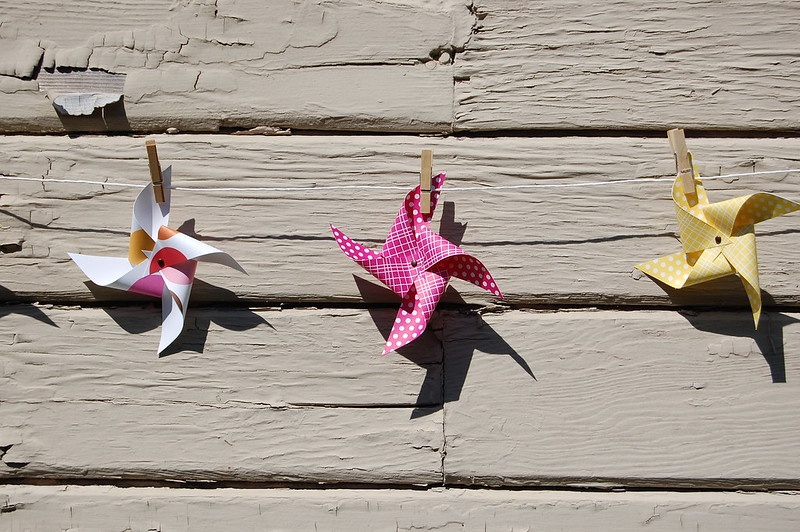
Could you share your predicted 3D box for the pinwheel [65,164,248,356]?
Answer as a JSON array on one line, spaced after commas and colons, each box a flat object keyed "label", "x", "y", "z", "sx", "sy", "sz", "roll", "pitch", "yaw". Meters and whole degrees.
[{"label": "pinwheel", "x": -0.613, "y": -0.008, "z": 2.802, "sx": 0.616, "sy": 0.421, "sz": 0.184, "roll": -13, "pitch": 0, "yaw": -9}]

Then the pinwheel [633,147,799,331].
[{"label": "pinwheel", "x": 0.780, "y": -0.062, "z": 2.770, "sx": 0.310, "sy": 0.358, "sz": 0.189, "roll": 14, "pitch": 34, "yaw": 23}]

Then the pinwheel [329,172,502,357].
[{"label": "pinwheel", "x": 0.026, "y": -0.029, "z": 2.785, "sx": 0.125, "sy": 0.403, "sz": 0.292, "roll": -26, "pitch": 82, "yaw": -47}]
